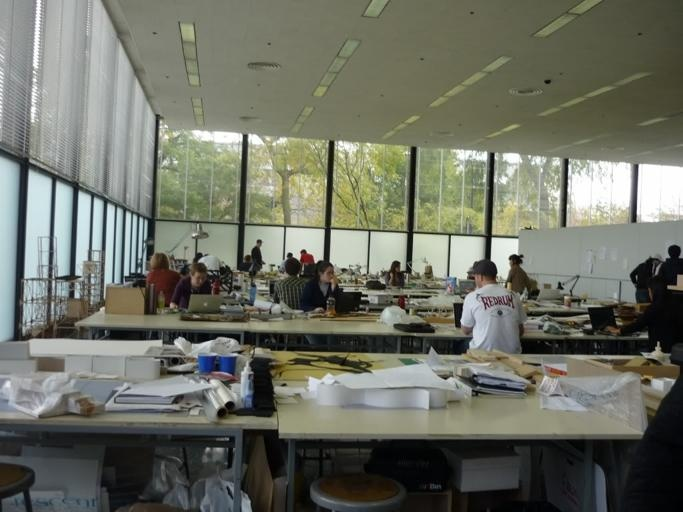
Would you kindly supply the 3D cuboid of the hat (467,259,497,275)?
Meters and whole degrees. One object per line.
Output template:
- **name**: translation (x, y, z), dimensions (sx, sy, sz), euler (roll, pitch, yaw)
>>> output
- **hat**: translation (1.085, 0.114, 4.365), dimensions (0.144, 0.114, 0.198), euler (0, 14, -19)

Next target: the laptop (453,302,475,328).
- **laptop**: translation (1.059, 0.528, 4.947), dimensions (0.213, 0.172, 0.209), euler (-1, 1, 8)

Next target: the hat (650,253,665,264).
- **hat**: translation (5.291, 0.046, 9.500), dimensions (0.183, 0.074, 0.131), euler (-8, 7, -11)

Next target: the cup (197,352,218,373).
- **cup**: translation (-0.723, 0.577, 3.086), dimensions (0.098, 0.088, 0.091), euler (0, -2, 0)

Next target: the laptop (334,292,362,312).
- **laptop**: translation (0.059, 0.431, 5.562), dimensions (0.192, 0.284, 0.207), euler (1, 6, -12)

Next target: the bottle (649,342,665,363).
- **bottle**: translation (2.170, 0.665, 3.896), dimensions (0.121, 0.131, 0.124), euler (2, 4, 33)

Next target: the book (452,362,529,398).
- **book**: translation (0.829, 0.680, 3.110), dimensions (0.244, 0.077, 0.201), euler (4, 2, 5)

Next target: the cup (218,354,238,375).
- **cup**: translation (-0.610, 0.589, 3.080), dimensions (0.102, 0.094, 0.086), euler (-3, -5, 41)

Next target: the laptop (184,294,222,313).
- **laptop**: translation (-1.198, 0.427, 5.046), dimensions (0.232, 0.160, 0.164), euler (2, 5, -17)
